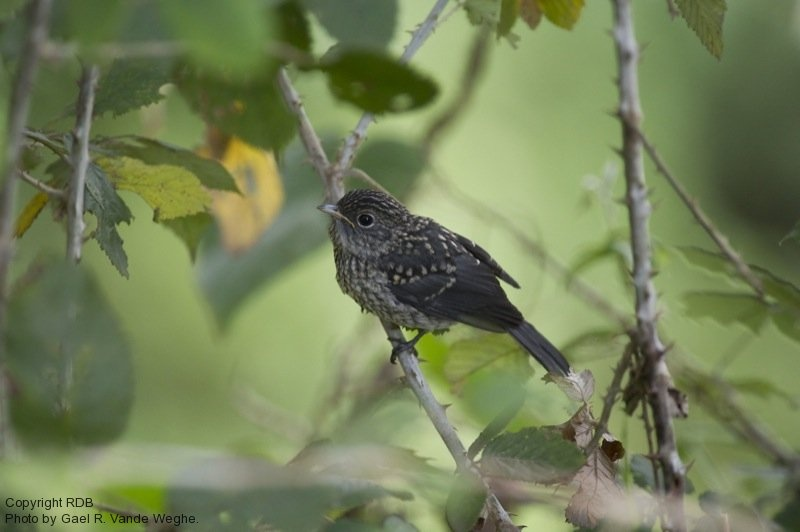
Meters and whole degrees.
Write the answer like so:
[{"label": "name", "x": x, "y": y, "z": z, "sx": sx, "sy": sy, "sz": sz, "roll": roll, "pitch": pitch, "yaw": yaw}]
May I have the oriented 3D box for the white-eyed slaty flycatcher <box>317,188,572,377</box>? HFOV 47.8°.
[{"label": "white-eyed slaty flycatcher", "x": 0.225, "y": 0.061, "z": 2.677, "sx": 0.931, "sy": 0.514, "sz": 0.298, "roll": 15, "pitch": -8, "yaw": -12}]
